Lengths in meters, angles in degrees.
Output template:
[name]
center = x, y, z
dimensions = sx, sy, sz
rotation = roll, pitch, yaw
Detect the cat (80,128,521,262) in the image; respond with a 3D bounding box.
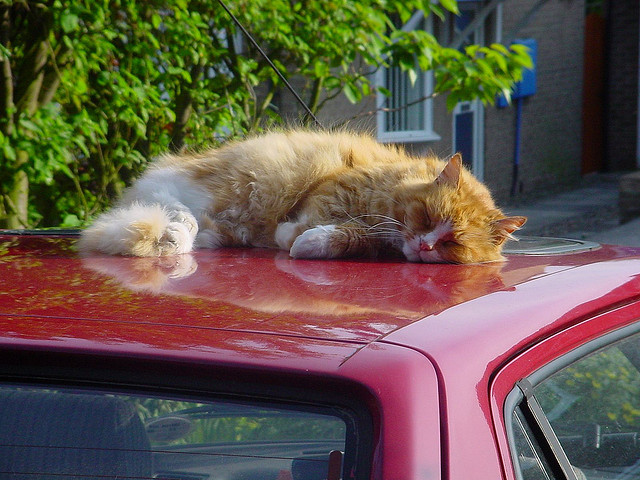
[cat]
center = -0.002, -0.160, 4.028
dimensions = 1.127, 0.324, 0.801
rotation = 6, -6, 25
